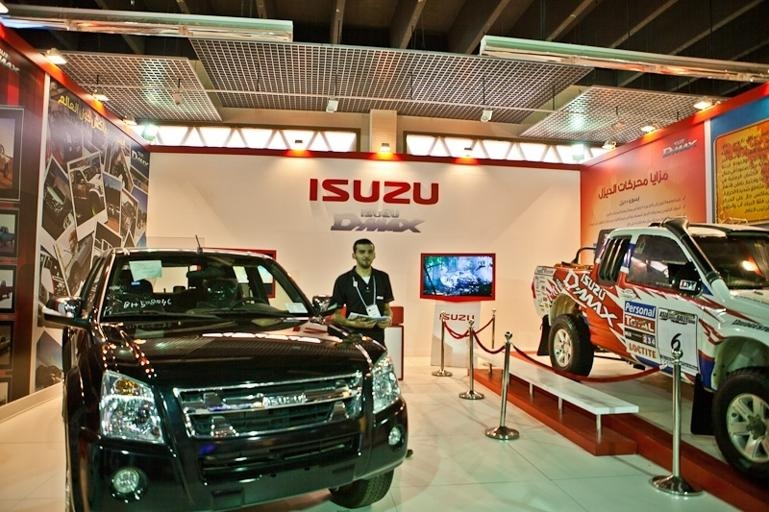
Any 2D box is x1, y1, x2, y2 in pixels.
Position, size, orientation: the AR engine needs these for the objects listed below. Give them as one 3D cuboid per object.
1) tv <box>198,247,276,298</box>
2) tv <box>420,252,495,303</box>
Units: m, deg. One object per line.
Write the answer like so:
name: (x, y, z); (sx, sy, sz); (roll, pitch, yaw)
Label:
tv: (-1.619, 0.200, 5.484); (0.617, 0.388, 0.058); (0, -4, -19)
tv: (1.471, 0.436, 10.232); (1.154, 0.708, 0.054); (0, -21, 3)
